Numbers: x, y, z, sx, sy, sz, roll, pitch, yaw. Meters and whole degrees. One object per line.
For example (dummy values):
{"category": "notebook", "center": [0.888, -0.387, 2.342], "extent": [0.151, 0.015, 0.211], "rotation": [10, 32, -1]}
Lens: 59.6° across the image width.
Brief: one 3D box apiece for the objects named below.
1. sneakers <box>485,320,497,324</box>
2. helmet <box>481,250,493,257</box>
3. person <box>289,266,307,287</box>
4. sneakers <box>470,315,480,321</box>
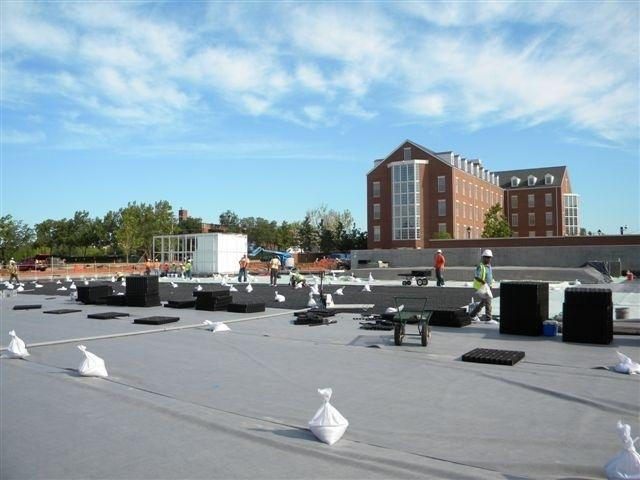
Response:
{"category": "sneakers", "center": [5.045, 2.391, 16.402], "extent": [0.244, 0.108, 0.135], "rotation": [0, -2, -2]}
{"category": "helmet", "center": [6.879, 0.526, 23.108], "extent": [0.372, 0.248, 0.483], "rotation": [3, -11, 12]}
{"category": "person", "center": [-1.372, 2.337, 33.184], "extent": [0.685, 1.048, 1.796], "rotation": [-4, -12, 16]}
{"category": "sneakers", "center": [4.692, 2.313, 16.911], "extent": [0.118, 0.084, 0.228], "rotation": [-10, 0, -14]}
